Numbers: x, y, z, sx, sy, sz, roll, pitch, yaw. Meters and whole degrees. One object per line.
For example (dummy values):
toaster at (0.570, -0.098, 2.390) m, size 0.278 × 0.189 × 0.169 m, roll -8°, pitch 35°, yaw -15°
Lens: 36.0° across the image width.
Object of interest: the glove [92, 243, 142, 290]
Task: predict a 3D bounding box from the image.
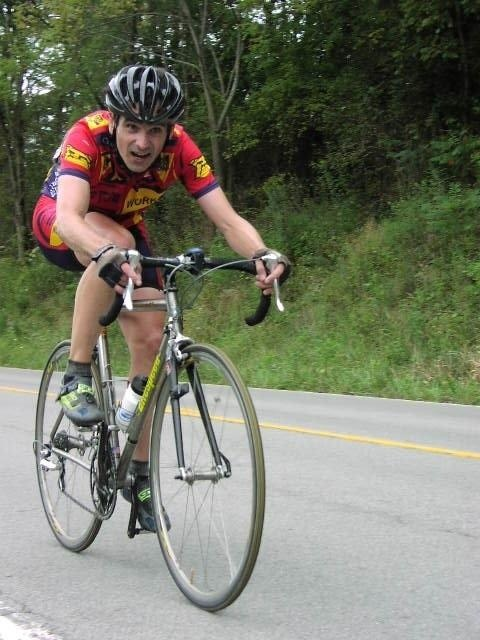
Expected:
glove at (-0.396, -0.163, 2.328) m, size 0.161 × 0.119 × 0.066 m, roll 42°, pitch 25°, yaw 31°

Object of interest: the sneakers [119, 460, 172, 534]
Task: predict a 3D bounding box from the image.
sneakers at (-0.396, 0.714, 2.974) m, size 0.137 × 0.235 × 0.378 m, roll -8°, pitch 2°, yaw -21°

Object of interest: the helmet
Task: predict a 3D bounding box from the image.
helmet at (-0.345, -0.835, 2.828) m, size 0.352 × 0.164 × 0.448 m, roll 6°, pitch 12°, yaw 0°

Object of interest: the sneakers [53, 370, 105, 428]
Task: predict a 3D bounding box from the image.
sneakers at (-0.656, 0.334, 3.013) m, size 0.127 × 0.127 × 0.310 m, roll -3°, pitch 13°, yaw -29°

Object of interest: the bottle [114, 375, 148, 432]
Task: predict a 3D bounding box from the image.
bottle at (-0.478, 0.378, 3.133) m, size 0.085 × 0.154 × 0.235 m, roll 1°, pitch -1°, yaw -12°
